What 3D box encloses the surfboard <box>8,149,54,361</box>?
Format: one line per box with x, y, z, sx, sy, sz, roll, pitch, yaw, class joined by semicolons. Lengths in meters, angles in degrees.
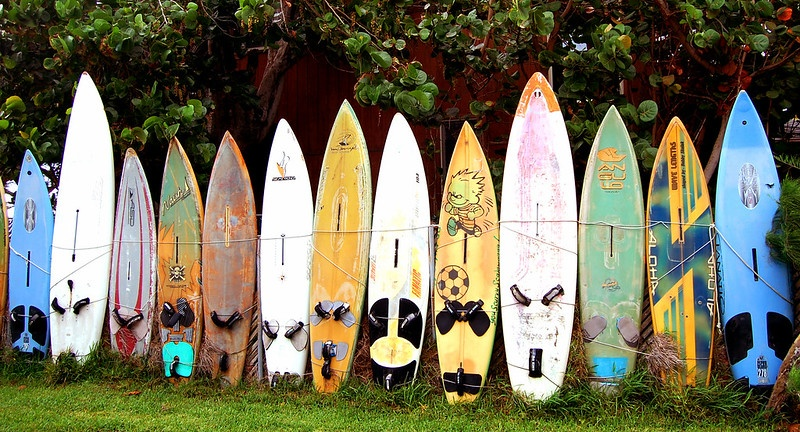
-4.565;0.619;11.647;0.511;2.619;0.406;0;-7;2;surfboard

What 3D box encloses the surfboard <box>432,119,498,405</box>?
0.773;0.546;10.916;0.743;3.280;0.187;2;-8;-4;surfboard

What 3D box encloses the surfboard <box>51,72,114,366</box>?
-3.896;0.058;11.972;0.727;3.695;0.634;1;-6;5;surfboard

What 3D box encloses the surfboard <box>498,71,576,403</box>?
1.578;0.284;10.815;0.840;3.671;0.512;1;-5;11;surfboard

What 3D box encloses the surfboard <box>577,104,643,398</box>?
2.416;0.507;10.911;0.898;4.278;0.493;-7;35;2;surfboard

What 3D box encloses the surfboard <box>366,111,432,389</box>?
0.002;0.456;11.012;0.690;3.143;0.182;2;-8;-2;surfboard

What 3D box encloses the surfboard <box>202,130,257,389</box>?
-2.020;0.548;11.471;0.657;3.066;0.459;0;-8;7;surfboard

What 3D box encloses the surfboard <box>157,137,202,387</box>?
-2.674;0.594;11.389;0.589;2.887;0.417;0;-3;6;surfboard

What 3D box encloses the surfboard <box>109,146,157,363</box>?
-3.277;0.467;11.637;0.515;2.547;0.374;-1;-7;4;surfboard

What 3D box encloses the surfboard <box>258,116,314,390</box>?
-1.358;0.440;11.254;0.627;3.122;0.428;0;-6;9;surfboard

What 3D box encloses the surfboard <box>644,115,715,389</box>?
3.190;0.401;10.712;0.759;3.053;0.211;0;-8;13;surfboard

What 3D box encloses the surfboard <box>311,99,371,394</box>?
-0.695;0.368;11.149;0.723;3.453;0.612;1;-7;13;surfboard

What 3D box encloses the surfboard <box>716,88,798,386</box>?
3.962;0.276;10.618;0.647;3.350;0.296;-1;-4;7;surfboard
